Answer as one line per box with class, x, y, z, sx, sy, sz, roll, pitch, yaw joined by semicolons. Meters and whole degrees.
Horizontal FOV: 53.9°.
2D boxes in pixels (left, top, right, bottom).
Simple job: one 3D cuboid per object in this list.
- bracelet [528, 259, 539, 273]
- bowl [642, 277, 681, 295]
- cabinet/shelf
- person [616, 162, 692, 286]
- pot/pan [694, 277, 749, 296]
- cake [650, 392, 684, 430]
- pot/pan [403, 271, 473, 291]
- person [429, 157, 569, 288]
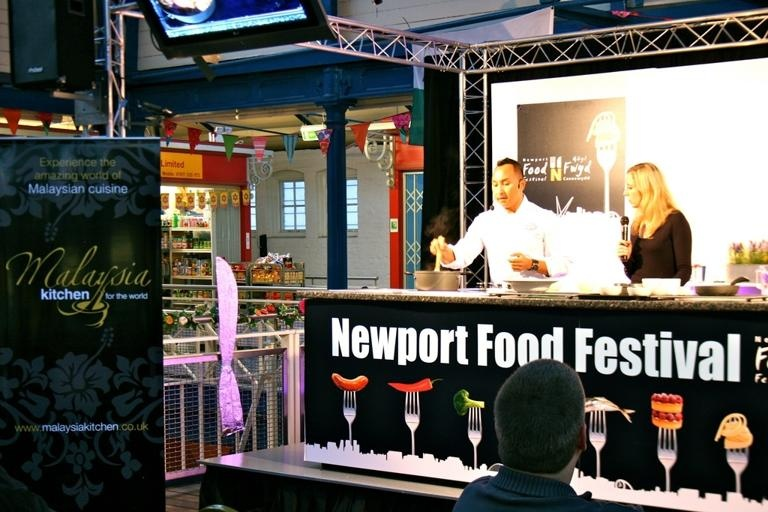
bracelet;1.092;0.073;5.473;0.066;0.102;0.091;0;4;-17
bowl;1.833;0.194;4.942;0.371;0.110;0.133;-3;3;-38
cabinet/shelf;-2.602;-0.185;12.806;2.170;2.201;1.229;1;4;30
person;2.204;-0.298;6.090;0.499;0.976;0.854;0;2;20
pot/pan;2.181;0.206;4.893;0.243;0.092;0.153;-2;-5;20
cake;1.805;0.977;4.811;0.207;0.205;0.200;7;-8;-44
pot/pan;0.405;0.177;5.685;0.360;0.161;0.281;-1;2;-7
person;1.060;-0.302;6.483;1.028;1.094;1.574;-1;2;13
